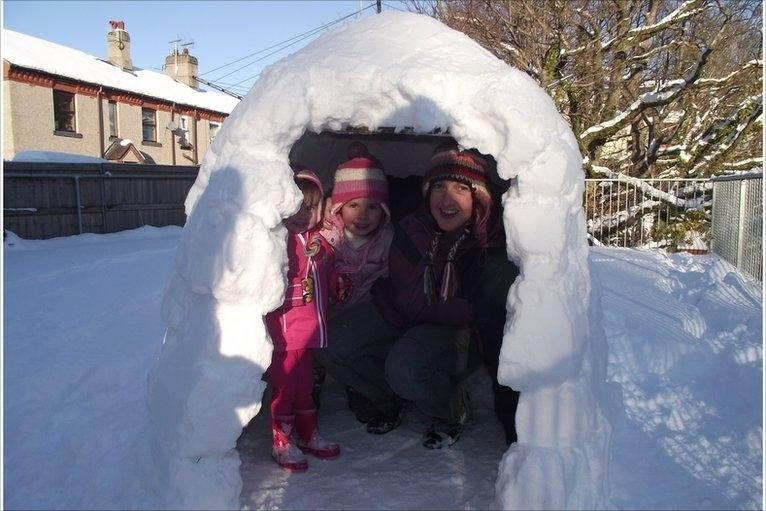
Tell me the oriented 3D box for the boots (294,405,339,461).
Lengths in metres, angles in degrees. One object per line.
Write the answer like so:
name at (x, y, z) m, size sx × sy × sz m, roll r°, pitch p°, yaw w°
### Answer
boots at (-0.502, 1.338, 4.471) m, size 0.383 × 0.360 × 0.182 m, roll 1°, pitch 7°, yaw 21°

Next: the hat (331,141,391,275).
hat at (-0.222, -0.384, 4.837) m, size 0.546 × 0.998 × 0.314 m, roll -1°, pitch 9°, yaw -28°

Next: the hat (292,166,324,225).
hat at (-0.554, -0.443, 4.524) m, size 0.247 × 0.369 × 0.146 m, roll 1°, pitch 4°, yaw -15°

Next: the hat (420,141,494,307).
hat at (0.597, -0.396, 4.520) m, size 0.491 × 0.738 × 0.319 m, roll -5°, pitch 22°, yaw 30°

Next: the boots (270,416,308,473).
boots at (-0.706, 1.375, 4.362) m, size 0.201 × 0.339 × 0.474 m, roll -5°, pitch 8°, yaw -33°
